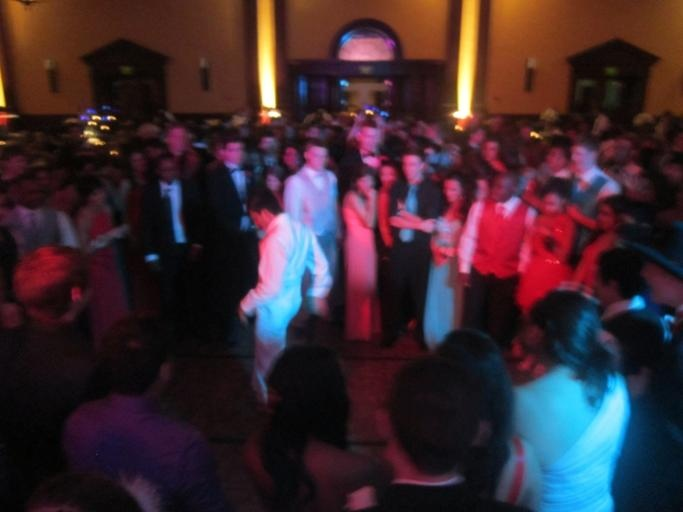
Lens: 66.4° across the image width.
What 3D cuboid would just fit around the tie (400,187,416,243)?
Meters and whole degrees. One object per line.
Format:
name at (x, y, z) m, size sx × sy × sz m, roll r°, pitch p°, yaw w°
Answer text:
tie at (0.615, -0.373, 4.612) m, size 0.091 × 0.396 × 0.114 m, roll -10°, pitch -18°, yaw 21°
